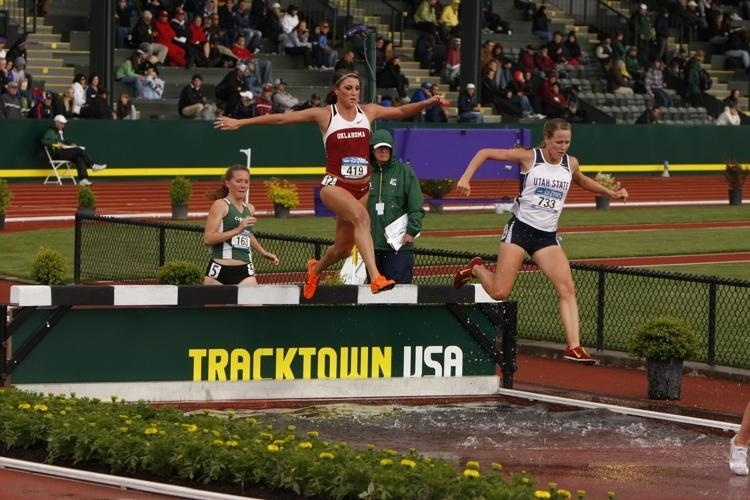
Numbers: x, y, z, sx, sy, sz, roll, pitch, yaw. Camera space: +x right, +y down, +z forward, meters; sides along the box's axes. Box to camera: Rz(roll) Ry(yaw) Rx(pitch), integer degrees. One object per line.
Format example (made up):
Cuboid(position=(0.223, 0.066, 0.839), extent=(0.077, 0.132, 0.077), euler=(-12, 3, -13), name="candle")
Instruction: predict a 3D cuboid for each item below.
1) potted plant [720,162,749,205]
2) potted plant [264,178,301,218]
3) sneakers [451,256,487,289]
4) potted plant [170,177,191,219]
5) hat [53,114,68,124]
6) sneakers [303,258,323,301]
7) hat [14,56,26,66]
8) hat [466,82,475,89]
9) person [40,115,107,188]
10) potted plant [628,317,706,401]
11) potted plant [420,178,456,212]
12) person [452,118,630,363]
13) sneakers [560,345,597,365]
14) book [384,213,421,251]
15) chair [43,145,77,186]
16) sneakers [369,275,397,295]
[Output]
Cuboid(position=(11.980, -2.209, 37.139), extent=(0.699, 1.364, 1.228), euler=(1, 9, 18), name="potted plant")
Cuboid(position=(-2.467, -1.407, 30.018), extent=(1.032, 1.127, 1.083), euler=(1, -1, 0), name="potted plant")
Cuboid(position=(1.121, 0.255, 13.845), extent=(0.216, 0.541, 0.202), euler=(51, 21, 22), name="sneakers")
Cuboid(position=(-5.038, -1.357, 28.987), extent=(0.502, 1.053, 1.101), euler=(-3, 9, -10), name="potted plant")
Cuboid(position=(-8.640, -3.585, 30.477), extent=(0.345, 0.169, 0.262), euler=(2, 5, 42), name="hat")
Cuboid(position=(-0.746, 0.329, 13.253), extent=(0.180, 0.581, 0.201), euler=(26, -35, -35), name="sneakers")
Cuboid(position=(-10.379, -5.528, 32.601), extent=(0.334, 0.194, 0.246), euler=(-9, 6, 30), name="hat")
Cuboid(position=(3.253, -5.635, 38.162), extent=(0.241, 0.114, 0.336), euler=(1, 2, 0), name="hat")
Cuboid(position=(-8.448, -2.796, 31.031), extent=(1.574, 1.946, 1.026), euler=(-6, 9, -30), name="person")
Cuboid(position=(3.687, 1.333, 14.193), extent=(1.044, 1.095, 0.947), euler=(0, -2, -7), name="potted plant")
Cuboid(position=(1.846, -1.606, 32.749), extent=(0.963, 1.068, 0.996), euler=(4, 5, 30), name="potted plant")
Cuboid(position=(1.874, -0.153, 13.345), extent=(1.297, 2.798, 0.989), euler=(-1, 8, 5), name="person")
Cuboid(position=(2.431, 1.229, 13.221), extent=(0.284, 0.288, 0.514), euler=(2, 9, 19), name="sneakers")
Cuboid(position=(0.323, -0.242, 14.440), extent=(0.136, 0.373, 0.371), euler=(15, 30, 38), name="book")
Cuboid(position=(-8.962, -2.290, 31.194), extent=(1.051, 1.428, 0.840), euler=(1, 3, 11), name="chair")
Cuboid(position=(0.081, 0.409, 12.914), extent=(0.272, 0.241, 0.294), euler=(-1, 9, 1), name="sneakers")
